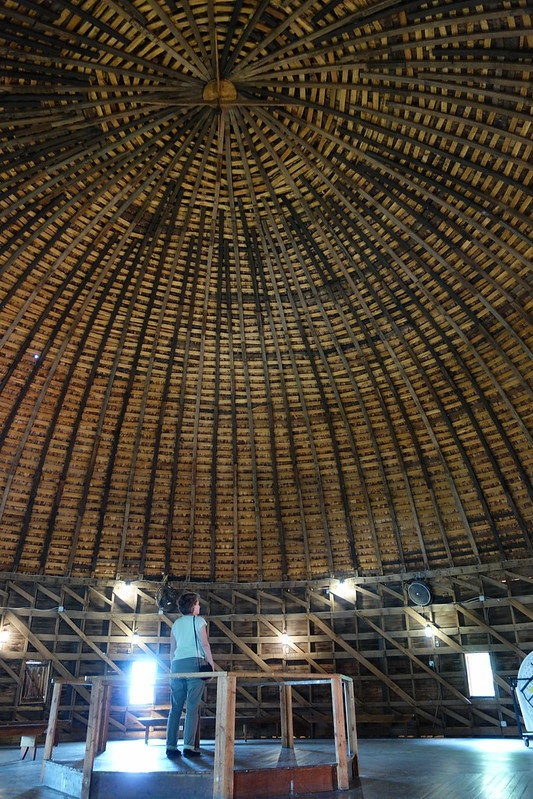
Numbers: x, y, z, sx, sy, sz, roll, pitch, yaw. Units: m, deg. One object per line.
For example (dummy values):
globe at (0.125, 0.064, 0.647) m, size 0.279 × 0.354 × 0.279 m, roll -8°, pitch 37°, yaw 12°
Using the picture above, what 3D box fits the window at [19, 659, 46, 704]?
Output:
window at (-5.675, 6.842, 12.627) m, size 0.523 × 0.996 × 0.170 m, roll 24°, pitch -61°, yaw -31°

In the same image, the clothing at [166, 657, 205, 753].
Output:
clothing at (-0.861, 3.216, 5.597) m, size 0.321 × 0.891 × 0.235 m, roll -2°, pitch -17°, yaw 2°
